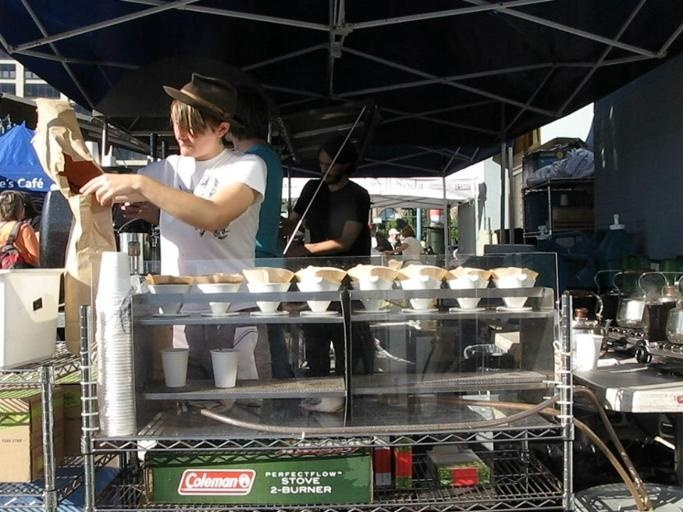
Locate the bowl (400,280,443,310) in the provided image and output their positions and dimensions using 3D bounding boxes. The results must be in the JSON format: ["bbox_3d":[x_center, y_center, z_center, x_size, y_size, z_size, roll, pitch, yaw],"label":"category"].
[{"bbox_3d":[0.348,0.168,3.023,0.139,0.107,0.143,0,-7,0],"label":"bowl"}]

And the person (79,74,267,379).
[{"bbox_3d":[-0.812,-0.053,3.265,0.888,1.555,0.636,3,6,-26],"label":"person"}]

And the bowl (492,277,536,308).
[{"bbox_3d":[0.770,0.168,3.123,0.142,0.106,0.159,-4,-4,29],"label":"bowl"}]

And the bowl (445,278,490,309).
[{"bbox_3d":[0.559,0.162,3.099,0.151,0.101,0.145,-1,-7,0],"label":"bowl"}]

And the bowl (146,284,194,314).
[{"bbox_3d":[-0.766,0.180,2.984,0.152,0.095,0.138,0,-6,-3],"label":"bowl"}]

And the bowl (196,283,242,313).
[{"bbox_3d":[-0.554,0.191,2.986,0.152,0.095,0.137,0,-6,-4],"label":"bowl"}]

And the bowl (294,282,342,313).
[{"bbox_3d":[-0.110,0.179,3.047,0.137,0.087,0.148,-1,-5,0],"label":"bowl"}]

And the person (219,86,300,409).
[{"bbox_3d":[-0.468,-0.128,3.458,0.463,1.366,0.511,4,7,1],"label":"person"}]

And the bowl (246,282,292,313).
[{"bbox_3d":[-0.327,0.171,2.990,0.153,0.089,0.132,0,-5,-3],"label":"bowl"}]

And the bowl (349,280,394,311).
[{"bbox_3d":[0.149,0.176,3.121,0.137,0.103,0.144,-3,-2,0],"label":"bowl"}]

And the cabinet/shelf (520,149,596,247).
[{"bbox_3d":[2.258,-0.642,7.139,0.455,0.973,1.113,0,-1,-2],"label":"cabinet/shelf"}]

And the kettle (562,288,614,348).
[{"bbox_3d":[1.311,0.339,3.692,0.303,0.348,0.341,1,8,1],"label":"kettle"}]
